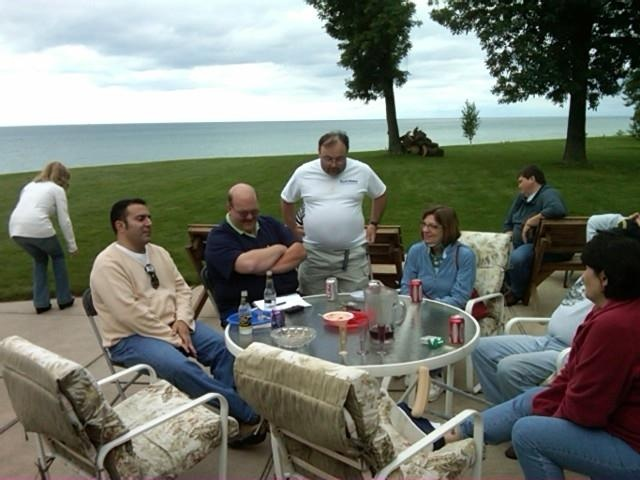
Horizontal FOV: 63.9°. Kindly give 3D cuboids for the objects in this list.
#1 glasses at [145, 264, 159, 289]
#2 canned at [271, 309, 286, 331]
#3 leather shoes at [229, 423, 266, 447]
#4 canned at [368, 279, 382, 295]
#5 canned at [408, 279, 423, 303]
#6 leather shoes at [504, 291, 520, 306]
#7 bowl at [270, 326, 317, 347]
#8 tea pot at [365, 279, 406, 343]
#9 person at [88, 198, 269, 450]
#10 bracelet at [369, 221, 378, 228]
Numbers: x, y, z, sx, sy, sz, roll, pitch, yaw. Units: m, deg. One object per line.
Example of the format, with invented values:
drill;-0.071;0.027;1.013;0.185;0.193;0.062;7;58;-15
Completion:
glasses;-1.512;0.325;4.634;0.039;0.203;0.114;-9;7;38
canned;-0.323;0.613;4.059;0.124;0.208;0.133;1;8;14
leather shoes;-0.570;1.610;4.245;0.368;0.144;0.136;-17;9;-6
canned;0.417;0.365;3.915;0.085;0.165;0.094;2;11;19
canned;0.857;0.445;4.558;0.101;0.209;0.130;-3;10;5
leather shoes;2.490;0.760;6.664;0.278;0.129;0.106;-6;11;-4
bowl;-0.184;0.700;3.759;0.328;0.097;0.263;-6;10;-14
tea pot;0.461;0.525;3.874;0.288;0.439;0.389;-4;6;-45
person;-1.267;0.653;4.390;1.308;1.996;0.853;6;14;42
bracelet;0.645;-0.181;6.109;0.088;0.062;0.090;7;2;-12
